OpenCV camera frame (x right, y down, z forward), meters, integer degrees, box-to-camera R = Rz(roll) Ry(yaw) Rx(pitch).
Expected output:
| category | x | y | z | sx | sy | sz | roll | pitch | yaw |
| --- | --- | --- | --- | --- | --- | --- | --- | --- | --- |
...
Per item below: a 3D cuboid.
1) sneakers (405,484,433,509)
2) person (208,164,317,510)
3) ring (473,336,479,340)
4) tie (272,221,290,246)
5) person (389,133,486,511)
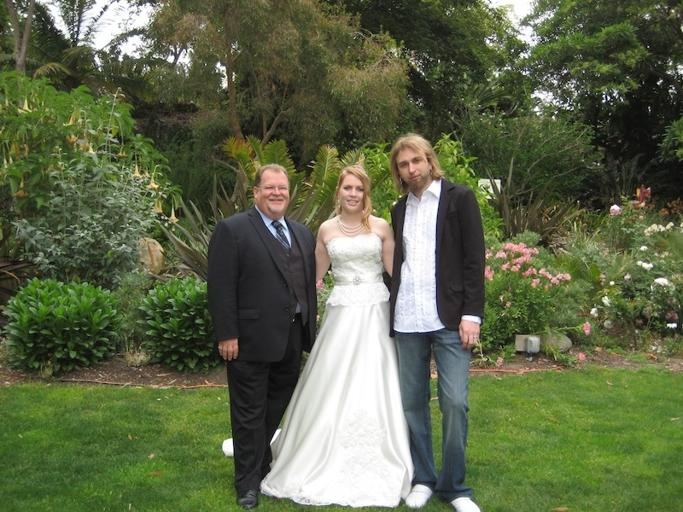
| category | x | y | z | sx | sy | sz | roll | pitch | yaw |
| --- | --- | --- | --- | --- | --- | --- | --- | --- | --- |
| sneakers | 0.660 | 2.046 | 4.720 | 0.165 | 0.115 | 0.265 | 8 | 14 | 31 |
| person | -0.656 | 0.612 | 4.904 | 0.939 | 2.781 | 0.747 | -7 | 14 | -32 |
| ring | 1.106 | 0.673 | 4.578 | 0.043 | 0.014 | 0.044 | -1 | -30 | -1 |
| tie | -0.555 | -0.206 | 5.020 | 0.081 | 0.048 | 0.342 | -18 | -32 | 5 |
| person | 0.775 | 0.530 | 4.715 | 1.016 | 3.068 | 0.727 | 10 | 15 | 38 |
